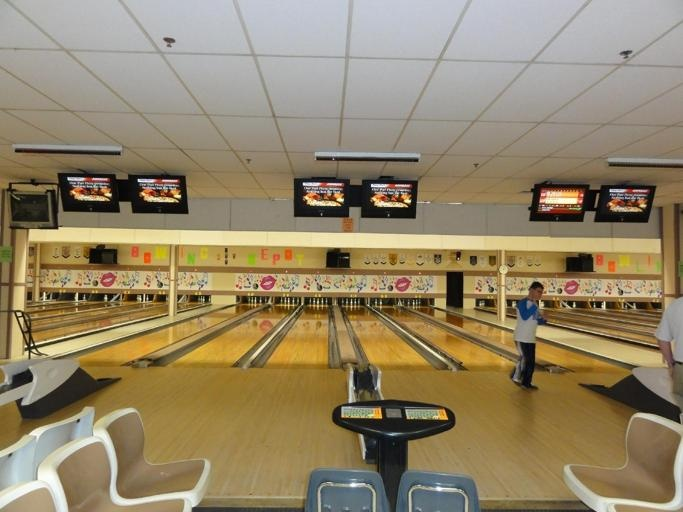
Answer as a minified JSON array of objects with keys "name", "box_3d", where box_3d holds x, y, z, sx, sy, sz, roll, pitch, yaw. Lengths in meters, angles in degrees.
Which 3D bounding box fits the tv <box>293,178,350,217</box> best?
[{"name":"tv","box_3d":[-0.201,-0.687,5.340,0.788,0.435,0.079,6,11,32]}]

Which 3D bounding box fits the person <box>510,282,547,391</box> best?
[{"name":"person","box_3d":[1.920,0.817,4.822,0.322,1.111,0.387,-1,-1,11]}]

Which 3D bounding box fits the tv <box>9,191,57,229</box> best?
[{"name":"tv","box_3d":[-3.699,-0.564,5.594,0.648,0.446,0.329,0,0,-2]}]

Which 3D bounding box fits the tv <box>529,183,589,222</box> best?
[{"name":"tv","box_3d":[2.522,-0.622,5.388,0.829,0.433,0.079,-2,14,-21]}]

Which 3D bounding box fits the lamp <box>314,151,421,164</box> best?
[{"name":"lamp","box_3d":[0.288,-1.030,4.889,1.098,0.074,0.338,0,0,0]}]

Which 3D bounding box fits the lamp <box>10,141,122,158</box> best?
[{"name":"lamp","box_3d":[-2.748,-1.070,4.738,1.112,0.076,0.310,0,0,-3]}]

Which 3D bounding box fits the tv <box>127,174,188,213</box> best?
[{"name":"tv","box_3d":[-2.106,-0.722,5.332,0.083,0.416,0.716,6,9,34]}]

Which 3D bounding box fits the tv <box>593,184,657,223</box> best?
[{"name":"tv","box_3d":[3.245,-0.622,5.356,0.801,0.420,0.079,-1,11,-17]}]

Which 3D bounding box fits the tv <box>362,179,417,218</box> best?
[{"name":"tv","box_3d":[0.524,-0.659,5.338,0.817,0.440,0.078,-4,8,-32]}]

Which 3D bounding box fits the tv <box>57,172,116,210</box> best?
[{"name":"tv","box_3d":[-2.823,-0.737,5.270,0.749,0.400,0.084,5,10,17]}]
